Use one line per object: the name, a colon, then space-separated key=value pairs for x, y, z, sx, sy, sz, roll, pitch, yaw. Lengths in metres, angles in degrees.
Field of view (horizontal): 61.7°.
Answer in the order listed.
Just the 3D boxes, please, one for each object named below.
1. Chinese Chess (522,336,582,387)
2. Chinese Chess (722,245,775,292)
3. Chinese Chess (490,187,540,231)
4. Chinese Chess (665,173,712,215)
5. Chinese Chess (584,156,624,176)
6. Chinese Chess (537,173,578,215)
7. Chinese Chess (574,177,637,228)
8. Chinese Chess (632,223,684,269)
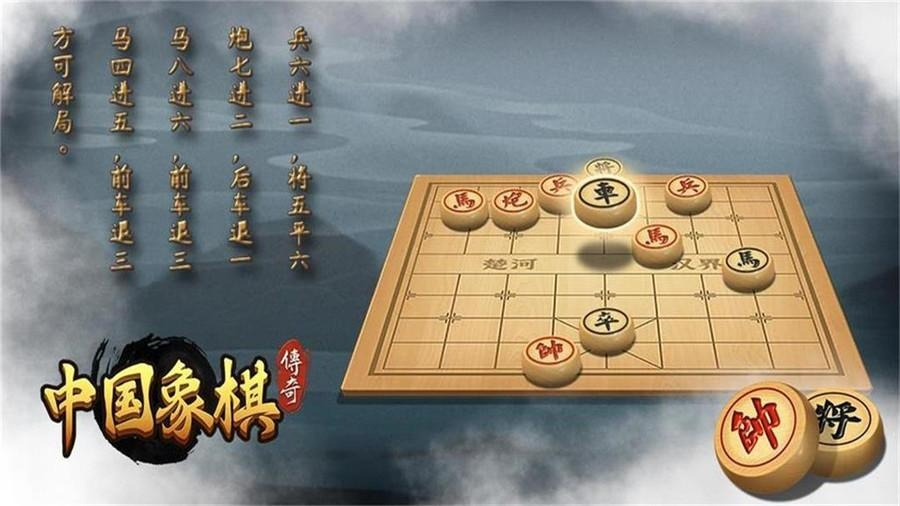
Chinese Chess: x=0.666 y=0.693 z=4.809 sx=0.373 sy=0.112 sz=0.331 roll=0 pitch=68 yaw=-2
Chinese Chess: x=2.010 y=0.098 z=5.065 sx=0.367 sy=0.153 sz=0.310 roll=-12 pitch=38 yaw=12
Chinese Chess: x=0.468 y=-0.363 z=5.361 sx=0.305 sy=0.104 sz=0.262 roll=0 pitch=44 yaw=33
Chinese Chess: x=1.647 y=-0.404 z=5.204 sx=0.319 sy=0.148 sz=0.259 roll=0 pitch=50 yaw=14
Chinese Chess: x=1.072 y=-0.599 z=5.216 sx=0.264 sy=0.051 sz=0.129 roll=-1 pitch=68 yaw=-2
Chinese Chess: x=0.751 y=-0.400 z=5.317 sx=0.304 sy=0.142 sz=0.258 roll=-18 pitch=52 yaw=-16
Chinese Chess: x=1.095 y=-0.380 z=5.148 sx=0.497 sy=0.434 sz=0.145 roll=3 pitch=85 yaw=3
Chinese Chess: x=1.402 y=-0.046 z=5.059 sx=0.358 sy=0.124 sz=0.295 roll=-6 pitch=38 yaw=7
